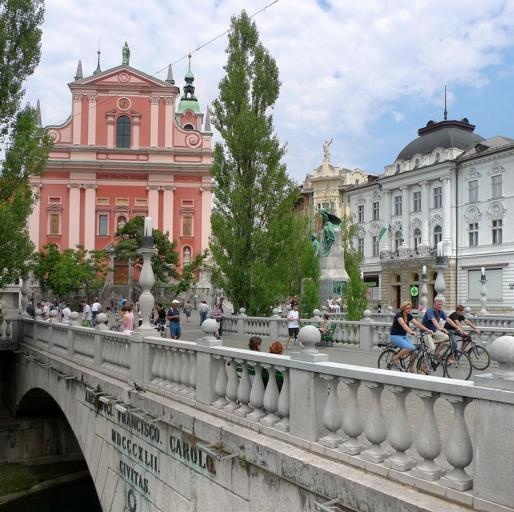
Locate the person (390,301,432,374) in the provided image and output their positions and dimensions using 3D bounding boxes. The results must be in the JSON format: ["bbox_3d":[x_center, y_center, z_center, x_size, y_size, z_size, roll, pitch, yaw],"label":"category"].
[{"bbox_3d":[2.652,1.448,14.033,0.633,0.911,1.256,-3,1,17],"label":"person"}]

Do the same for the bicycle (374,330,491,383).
[{"bbox_3d":[3.047,2.003,14.621,1.865,1.412,1.042,-4,-4,24],"label":"bicycle"}]

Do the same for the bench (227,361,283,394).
[{"bbox_3d":[0.093,1.499,9.871,0.490,0.293,1.202,-4,0,-29],"label":"bench"}]
